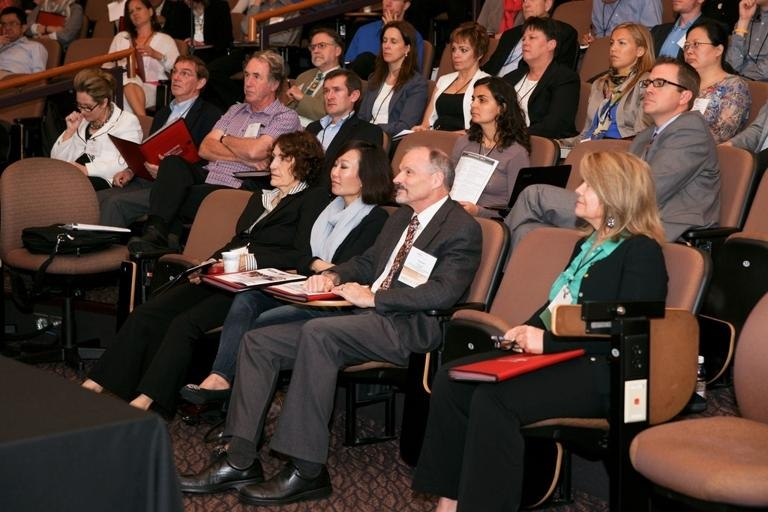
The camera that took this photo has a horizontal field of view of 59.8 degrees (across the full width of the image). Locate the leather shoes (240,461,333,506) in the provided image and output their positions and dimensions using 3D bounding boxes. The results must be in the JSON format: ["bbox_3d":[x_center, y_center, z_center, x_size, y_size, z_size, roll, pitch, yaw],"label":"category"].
[{"bbox_3d":[-0.441,1.019,3.031,0.403,0.185,0.165,2,-4,-15],"label":"leather shoes"}]

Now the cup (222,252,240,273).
[{"bbox_3d":[-0.788,0.030,3.448,0.095,0.102,0.095,1,4,0],"label":"cup"}]

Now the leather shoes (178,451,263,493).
[{"bbox_3d":[-0.750,0.988,3.096,0.367,0.166,0.151,0,-5,-12],"label":"leather shoes"}]

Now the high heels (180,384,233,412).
[{"bbox_3d":[-0.862,0.703,3.345,0.273,0.113,0.154,16,-13,-29],"label":"high heels"}]

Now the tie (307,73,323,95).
[{"bbox_3d":[-0.592,-1.486,5.761,0.052,0.236,0.062,27,-11,34],"label":"tie"}]
